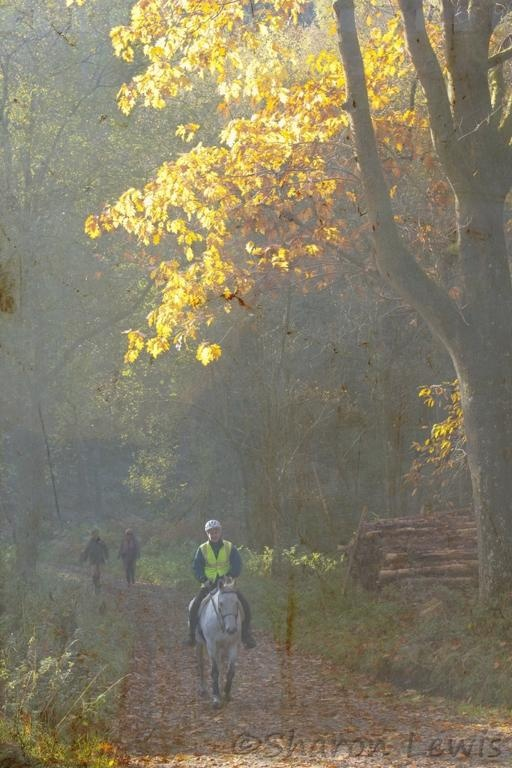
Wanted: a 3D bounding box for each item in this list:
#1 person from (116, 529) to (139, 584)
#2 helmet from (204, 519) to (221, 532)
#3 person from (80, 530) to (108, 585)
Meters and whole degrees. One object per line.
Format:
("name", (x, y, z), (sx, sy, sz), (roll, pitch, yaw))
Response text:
("person", (-2.488, 3.372, 24.847), (0.374, 1.092, 0.870), (-3, -7, -5))
("helmet", (-0.671, 2.187, 19.764), (0.226, 0.175, 0.325), (-3, -8, -3))
("person", (-3.166, 3.405, 24.787), (0.522, 1.068, 1.502), (-2, -7, -8))
